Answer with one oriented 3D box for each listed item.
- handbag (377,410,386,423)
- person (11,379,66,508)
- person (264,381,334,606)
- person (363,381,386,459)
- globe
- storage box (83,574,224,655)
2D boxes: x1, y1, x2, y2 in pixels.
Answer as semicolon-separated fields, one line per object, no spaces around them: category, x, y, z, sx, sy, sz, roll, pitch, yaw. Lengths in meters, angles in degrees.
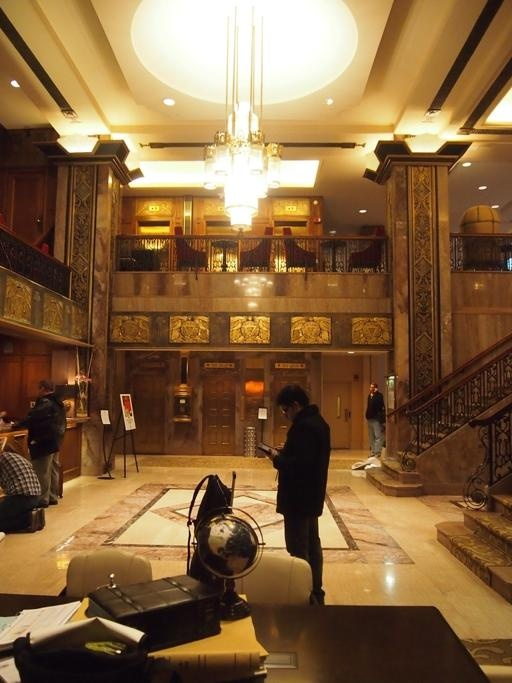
handbag;2.703;1.638;10.902;0.114;0.260;0.357;-3;-6;20
person;-2.832;1.358;6.668;0.558;1.576;0.621;-10;-19;9
person;0.258;1.051;3.429;0.431;1.427;0.467;-1;-7;23
person;2.570;1.711;10.905;0.334;1.505;0.429;9;-12;-35
globe;-0.081;0.675;1.575;0.195;0.304;0.172;-1;1;14
storage box;-0.283;0.750;1.399;0.306;0.108;0.225;7;-11;-35
